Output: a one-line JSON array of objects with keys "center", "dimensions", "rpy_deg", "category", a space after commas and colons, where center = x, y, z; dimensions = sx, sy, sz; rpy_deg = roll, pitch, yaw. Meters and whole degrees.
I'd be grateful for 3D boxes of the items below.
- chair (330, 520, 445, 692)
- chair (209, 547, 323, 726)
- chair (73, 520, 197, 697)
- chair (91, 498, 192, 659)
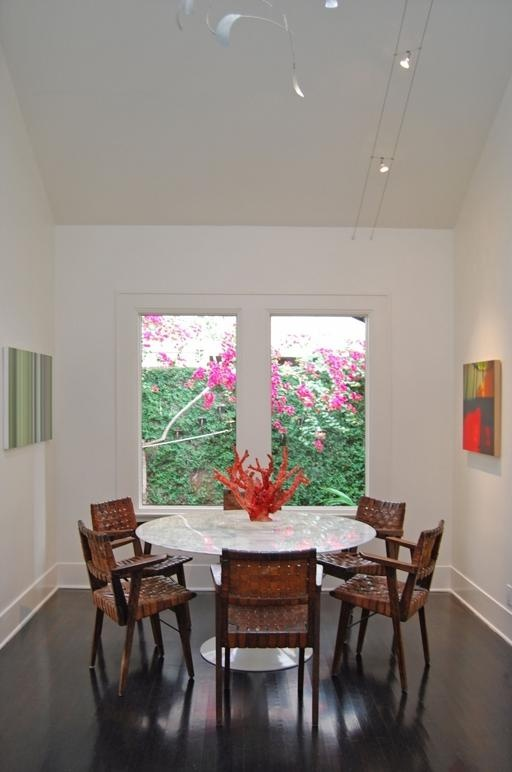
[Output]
[{"center": [0.662, 1.034, 2.753], "dimensions": [0.526, 0.742, 0.820], "rpy_deg": [-1, -5, 18], "category": "chair"}, {"center": [0.044, 0.960, 2.259], "dimensions": [0.450, 0.707, 0.513], "rpy_deg": [0, 1, 12], "category": "chair"}, {"center": [-0.549, 1.003, 2.577], "dimensions": [0.499, 0.683, 0.531], "rpy_deg": [0, -1, -3], "category": "chair"}, {"center": [-0.658, 1.100, 2.928], "dimensions": [0.559, 0.744, 0.581], "rpy_deg": [3, -5, -8], "category": "chair"}]
